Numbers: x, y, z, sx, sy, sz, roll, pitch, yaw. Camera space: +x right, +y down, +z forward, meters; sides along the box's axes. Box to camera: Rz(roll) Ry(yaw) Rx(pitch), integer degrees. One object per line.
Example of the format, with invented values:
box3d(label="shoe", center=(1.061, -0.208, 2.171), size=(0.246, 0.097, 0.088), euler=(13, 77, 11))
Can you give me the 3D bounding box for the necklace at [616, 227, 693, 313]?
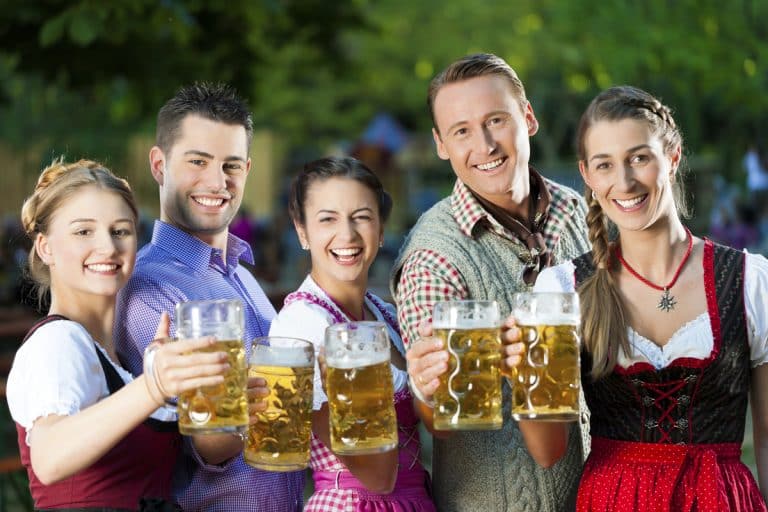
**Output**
box3d(label="necklace", center=(1.245, 0.085, 4.720), size=(0.244, 0.422, 0.022), euler=(-6, -45, -6))
